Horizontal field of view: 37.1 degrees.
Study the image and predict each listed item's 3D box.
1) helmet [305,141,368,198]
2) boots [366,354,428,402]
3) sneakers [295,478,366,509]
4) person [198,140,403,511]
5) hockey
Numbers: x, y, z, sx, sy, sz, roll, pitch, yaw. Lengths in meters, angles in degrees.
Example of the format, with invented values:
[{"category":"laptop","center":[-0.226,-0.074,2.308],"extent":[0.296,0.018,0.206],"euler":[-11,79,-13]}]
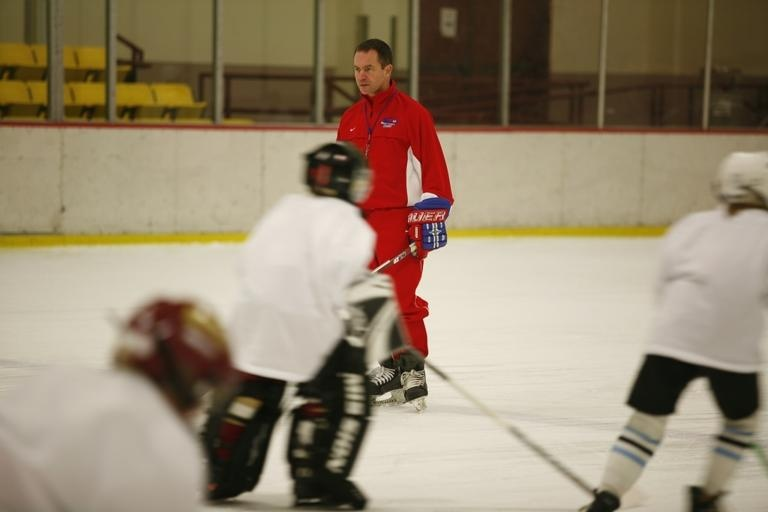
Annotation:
[{"category":"helmet","center":[-0.260,-0.459,5.922],"extent":[0.329,0.283,0.247],"euler":[6,15,-7]},{"category":"boots","center":[0.081,0.762,7.016],"extent":[0.193,0.226,0.510],"euler":[3,-3,-24]},{"category":"sneakers","center":[-0.265,1.217,5.892],"extent":[0.451,0.167,0.134],"euler":[2,1,-3]},{"category":"person","center":[-0.414,0.368,5.791],"extent":[0.996,1.892,0.306],"euler":[-1,6,-10]},{"category":"hockey","center":[0.797,1.031,6.603],"extent":[1.232,0.145,0.156],"euler":[35,30,3]}]
